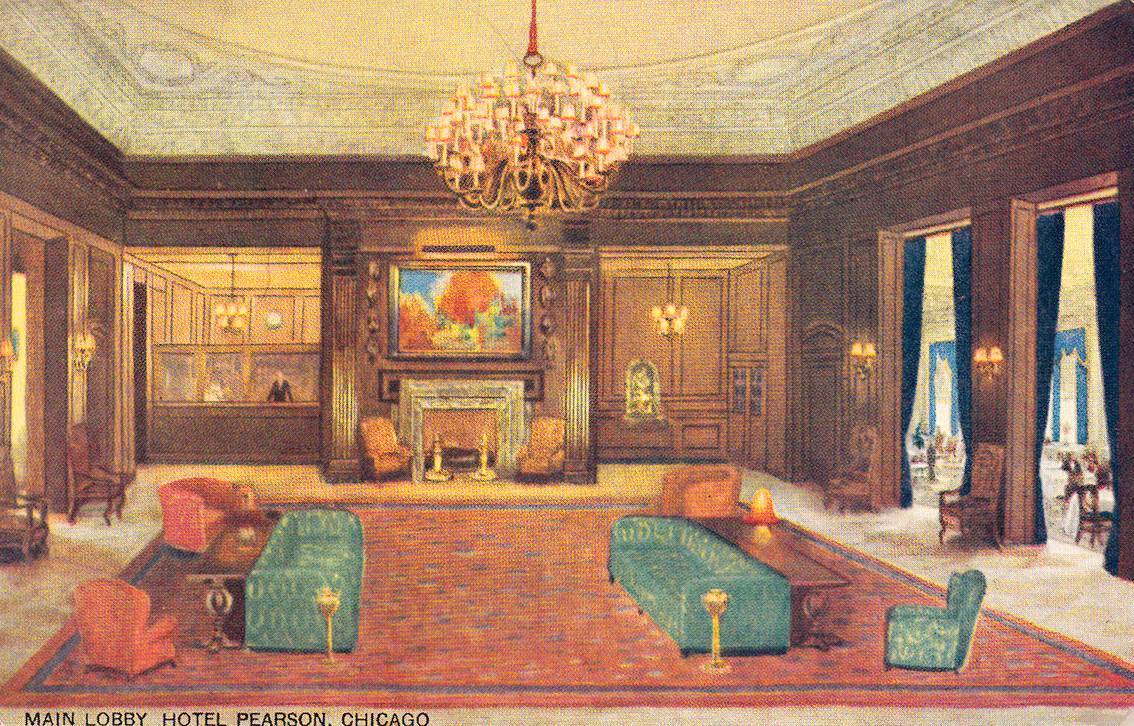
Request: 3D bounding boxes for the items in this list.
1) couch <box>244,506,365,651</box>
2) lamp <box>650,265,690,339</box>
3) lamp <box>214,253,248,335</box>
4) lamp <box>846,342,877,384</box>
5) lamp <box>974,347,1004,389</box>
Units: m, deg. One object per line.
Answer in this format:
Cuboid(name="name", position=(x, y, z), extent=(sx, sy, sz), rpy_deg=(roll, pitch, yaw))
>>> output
Cuboid(name="couch", position=(-2.847, 2.376, 11.132), extent=(1.188, 1.446, 1.228), rpy_deg=(1, -3, -5))
Cuboid(name="lamp", position=(1.813, -1.036, 17.836), extent=(0.636, 1.351, 1.334), rpy_deg=(0, -3, 6))
Cuboid(name="lamp", position=(-6.139, -1.193, 18.631), extent=(0.592, 1.267, 2.154), rpy_deg=(2, -3, -19))
Cuboid(name="lamp", position=(4.323, -0.008, 14.862), extent=(0.170, 0.582, 0.352), rpy_deg=(3, -4, -42))
Cuboid(name="lamp", position=(5.548, 0.075, 13.421), extent=(0.176, 0.620, 0.468), rpy_deg=(5, -8, -30))
